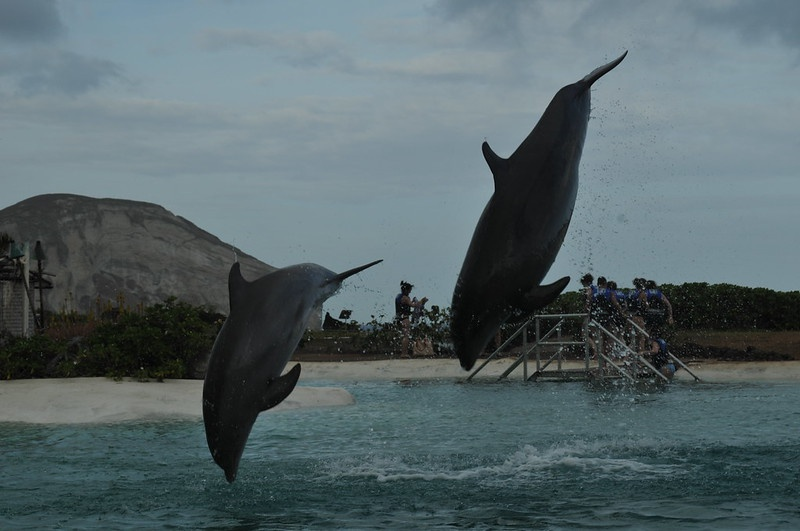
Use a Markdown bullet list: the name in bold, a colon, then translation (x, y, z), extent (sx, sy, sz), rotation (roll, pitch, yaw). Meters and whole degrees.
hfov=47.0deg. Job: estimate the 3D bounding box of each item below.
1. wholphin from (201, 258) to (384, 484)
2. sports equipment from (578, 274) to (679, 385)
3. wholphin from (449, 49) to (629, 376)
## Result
- **wholphin**: translation (-1.919, 1.529, 12.963), extent (1.681, 3.041, 0.707), rotation (-2, 7, -12)
- **sports equipment**: translation (5.897, 1.779, 23.723), extent (1.844, 2.244, 5.049), rotation (-6, 8, 18)
- **wholphin**: translation (1.684, -0.587, 12.546), extent (1.975, 3.840, 0.674), rotation (-3, 7, -21)
